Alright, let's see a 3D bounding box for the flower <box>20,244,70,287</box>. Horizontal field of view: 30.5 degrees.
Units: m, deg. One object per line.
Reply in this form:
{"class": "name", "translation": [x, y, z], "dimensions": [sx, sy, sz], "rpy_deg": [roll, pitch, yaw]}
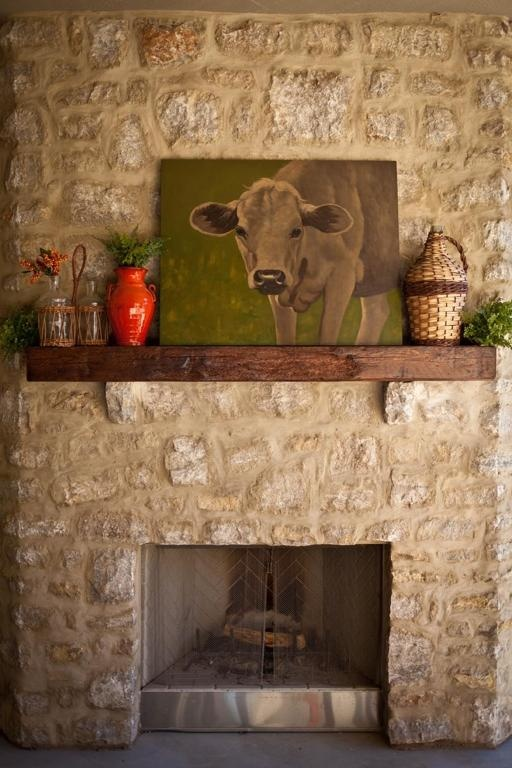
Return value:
{"class": "flower", "translation": [-0.739, -0.415, 3.257], "dimensions": [0.161, 0.129, 0.201], "rpy_deg": [1, 1, -12]}

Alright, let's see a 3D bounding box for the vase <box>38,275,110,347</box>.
{"class": "vase", "translation": [-0.672, -0.228, 3.206], "dimensions": [0.303, 0.259, 0.172], "rpy_deg": [-1, 4, -15]}

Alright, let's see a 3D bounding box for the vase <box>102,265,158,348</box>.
{"class": "vase", "translation": [-0.430, -0.261, 3.202], "dimensions": [0.160, 0.268, 0.107], "rpy_deg": [1, 2, -8]}
